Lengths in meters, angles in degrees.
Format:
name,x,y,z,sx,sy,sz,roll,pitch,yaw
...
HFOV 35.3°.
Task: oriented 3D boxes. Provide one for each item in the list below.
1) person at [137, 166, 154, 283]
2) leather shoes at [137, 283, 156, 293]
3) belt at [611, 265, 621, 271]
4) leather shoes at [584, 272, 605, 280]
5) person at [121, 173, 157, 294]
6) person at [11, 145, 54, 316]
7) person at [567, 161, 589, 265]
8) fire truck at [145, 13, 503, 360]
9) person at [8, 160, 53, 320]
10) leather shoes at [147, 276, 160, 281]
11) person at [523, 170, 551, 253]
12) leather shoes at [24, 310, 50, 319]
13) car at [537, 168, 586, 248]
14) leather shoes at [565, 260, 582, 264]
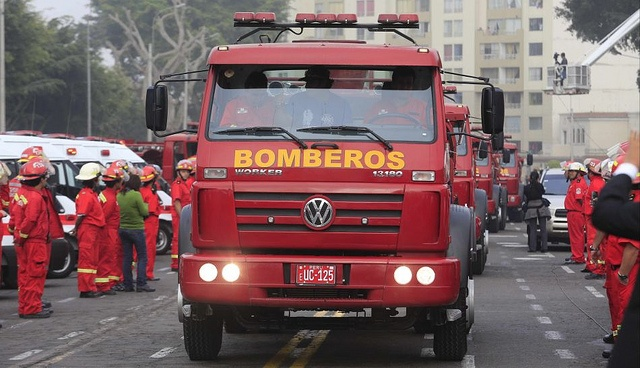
name,x,y,z,sx,sy,sz,roll,pitch,yaw
person,-4.256,0.972,25.541,0.461,2.488,0.568,-1,0,18
leather shoes,-4.126,2.517,24.329,0.576,0.214,0.175,0,2,-6
belt,5.504,1.553,18.661,0.117,0.094,0.108,-1,-3,13
leather shoes,7.063,2.348,25.861,0.545,0.199,0.179,3,-2,5
person,-4.433,1.280,24.581,0.946,2.480,0.684,2,-1,1
person,-6.082,1.182,21.715,1.099,3.245,1.237,-1,-3,-22
person,7.025,0.792,27.533,0.719,2.741,0.735,1,0,16
fire truck,0.102,0.001,18.260,5.326,6.451,2.364,-1,2,-8
person,-6.045,1.184,21.698,1.055,2.885,1.164,1,0,-10
leather shoes,-4.225,2.398,25.667,0.288,0.096,0.089,-2,4,-11
person,6.692,0.817,31.001,0.974,2.480,0.753,0,0,25
leather shoes,-6.048,2.773,21.518,0.513,0.194,0.178,-2,1,-4
car,7.870,0.680,32.796,1.750,2.688,1.420,1,0,15
leather shoes,7.189,2.199,28.503,0.502,0.180,0.158,-2,2,6
